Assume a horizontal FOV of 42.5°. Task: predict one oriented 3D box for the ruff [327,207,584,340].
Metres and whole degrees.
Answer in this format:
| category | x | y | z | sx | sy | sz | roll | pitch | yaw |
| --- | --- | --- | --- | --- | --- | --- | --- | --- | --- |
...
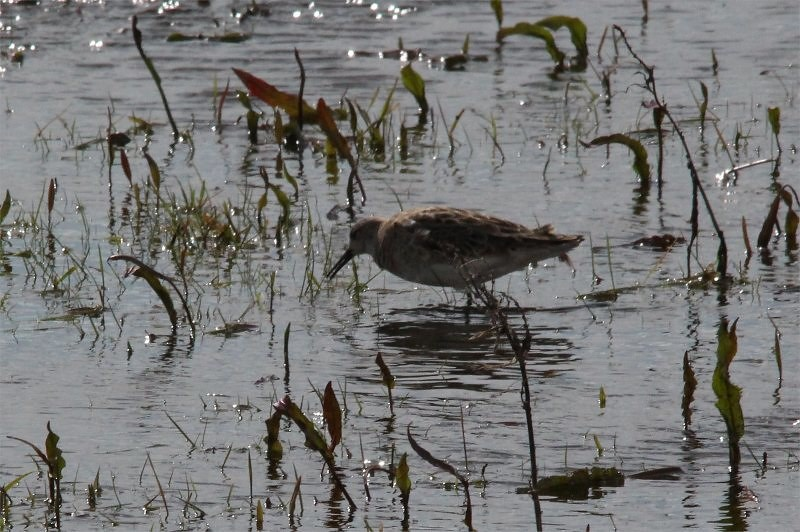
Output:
| category | x | y | z | sx | sy | sz | roll | pitch | yaw |
| --- | --- | --- | --- | --- | --- | --- | --- | --- | --- |
| ruff | 0.479 | -0.085 | 8.193 | 2.544 | 0.817 | 0.785 | -2 | 0 | 20 |
